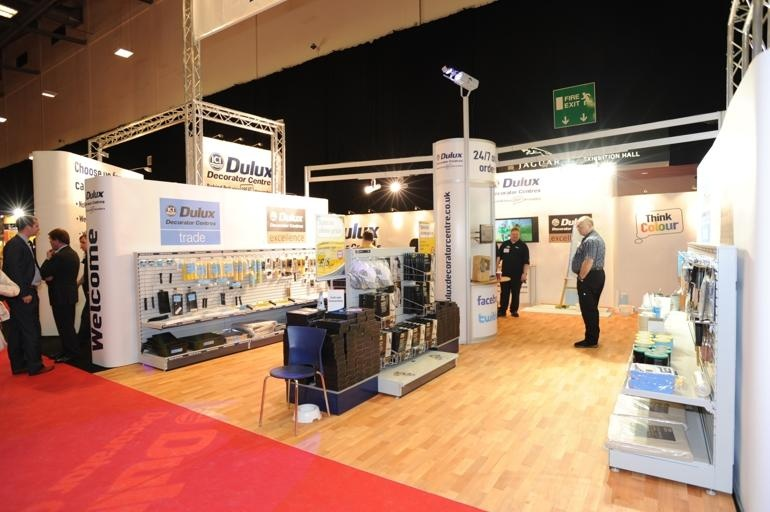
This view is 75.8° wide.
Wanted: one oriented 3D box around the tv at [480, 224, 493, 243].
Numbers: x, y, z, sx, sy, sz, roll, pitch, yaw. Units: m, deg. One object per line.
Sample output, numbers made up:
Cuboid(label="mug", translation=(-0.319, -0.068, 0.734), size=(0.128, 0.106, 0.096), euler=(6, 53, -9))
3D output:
Cuboid(label="tv", translation=(1.843, -0.404, 9.090), size=(0.176, 0.330, 0.353), euler=(1, 2, 37))

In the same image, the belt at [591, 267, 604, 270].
Cuboid(label="belt", translation=(3.503, 0.202, 8.188), size=(0.218, 0.071, 0.046), euler=(-2, 2, -15))

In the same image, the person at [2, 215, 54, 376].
Cuboid(label="person", translation=(-5.555, 0.607, 7.573), size=(0.488, 1.900, 0.537), euler=(-1, 2, 22))

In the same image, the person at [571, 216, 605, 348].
Cuboid(label="person", translation=(3.444, 0.457, 8.398), size=(0.488, 2.250, 0.671), euler=(-1, 2, 20))

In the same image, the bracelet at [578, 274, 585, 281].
Cuboid(label="bracelet", translation=(3.264, 0.354, 8.236), size=(0.112, 0.057, 0.152), euler=(-9, -6, 30))

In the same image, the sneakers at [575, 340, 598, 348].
Cuboid(label="sneakers", translation=(3.458, 1.518, 8.590), size=(0.383, 0.156, 0.151), euler=(3, 2, 14))

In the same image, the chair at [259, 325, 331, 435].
Cuboid(label="chair", translation=(-1.115, 1.499, 6.140), size=(0.676, 1.106, 0.698), euler=(1, 2, 23))

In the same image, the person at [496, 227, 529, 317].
Cuboid(label="person", translation=(2.848, 0.351, 11.093), size=(0.670, 1.984, 0.762), euler=(-1, 2, 12))
